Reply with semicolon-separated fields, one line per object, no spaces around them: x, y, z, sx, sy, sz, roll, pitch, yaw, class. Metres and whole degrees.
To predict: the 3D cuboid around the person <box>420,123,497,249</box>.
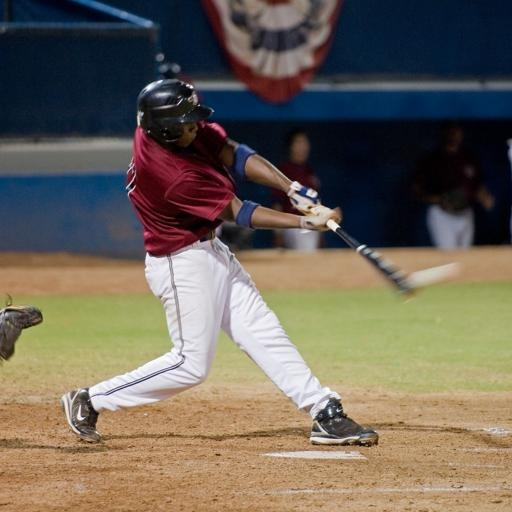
2.177;-0.760;11.465;0.851;1.319;1.848;1;8;9;person

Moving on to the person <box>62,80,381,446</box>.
-0.228;0.040;4.780;1.364;1.696;0.455;-2;10;-8;person

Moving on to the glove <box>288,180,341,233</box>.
0.297;-0.222;4.836;0.093;0.189;0.278;44;6;-48;glove

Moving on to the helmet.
-0.378;-0.676;4.734;0.351;0.221;0.264;-17;35;-27;helmet

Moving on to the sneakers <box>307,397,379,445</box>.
0.375;0.773;4.842;0.387;0.177;0.131;8;1;-22;sneakers
